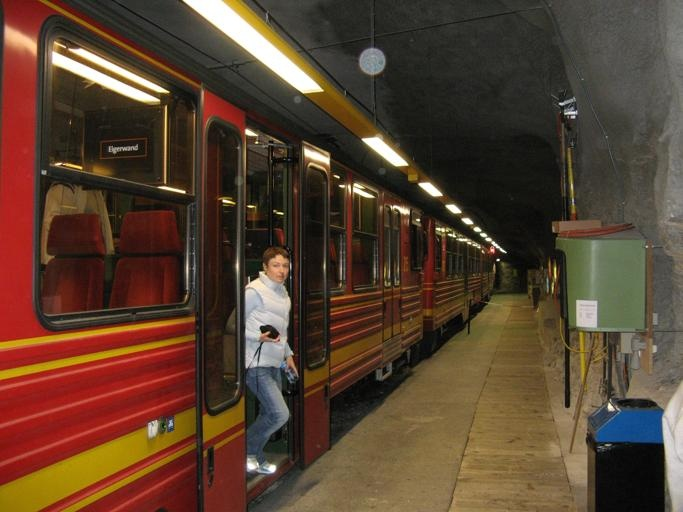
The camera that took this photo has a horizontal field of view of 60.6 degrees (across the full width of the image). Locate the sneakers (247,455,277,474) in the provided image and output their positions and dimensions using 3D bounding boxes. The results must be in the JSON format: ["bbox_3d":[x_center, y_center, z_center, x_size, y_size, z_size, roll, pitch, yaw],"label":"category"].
[{"bbox_3d":[-0.637,1.825,5.088,0.361,0.157,0.124,1,-3,-6],"label":"sneakers"}]
